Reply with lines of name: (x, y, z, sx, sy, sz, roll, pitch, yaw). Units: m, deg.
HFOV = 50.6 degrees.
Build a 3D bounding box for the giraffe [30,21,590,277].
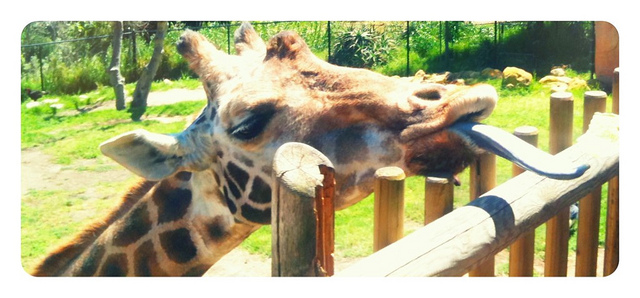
giraffe: (-0.390, -0.210, 10.106, 8.867, 3.022, 2.729, -7, 34, 10)
